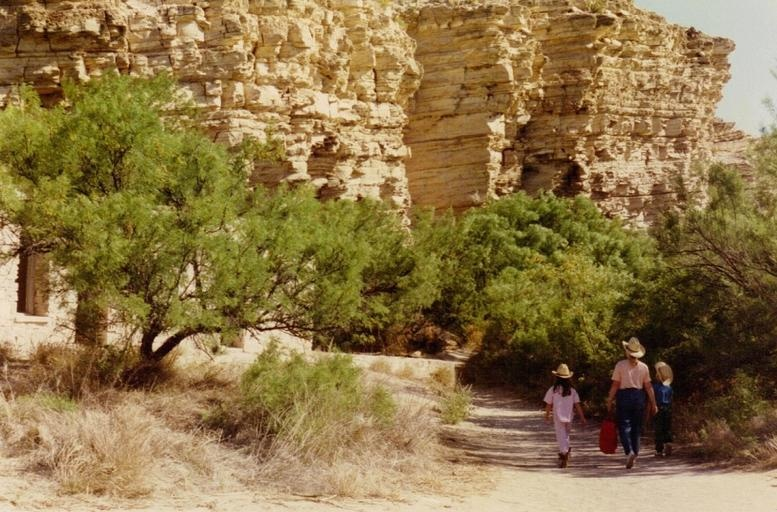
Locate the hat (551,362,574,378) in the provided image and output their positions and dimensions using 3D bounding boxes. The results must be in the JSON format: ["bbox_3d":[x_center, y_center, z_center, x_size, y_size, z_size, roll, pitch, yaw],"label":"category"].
[{"bbox_3d":[4.743,3.184,30.699,0.711,0.347,0.911,3,1,-4],"label":"hat"}]

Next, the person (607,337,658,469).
[{"bbox_3d":[6.452,3.945,30.027,1.229,3.475,0.615,6,-6,-20],"label":"person"}]

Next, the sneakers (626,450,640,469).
[{"bbox_3d":[6.457,5.444,29.804,0.232,0.579,0.273,2,10,-1],"label":"sneakers"}]

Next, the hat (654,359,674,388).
[{"bbox_3d":[7.471,3.286,30.972,0.553,0.591,0.155,-18,-1,-30],"label":"hat"}]

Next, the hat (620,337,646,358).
[{"bbox_3d":[6.594,2.517,30.358,0.632,0.325,0.783,4,26,-9],"label":"hat"}]
